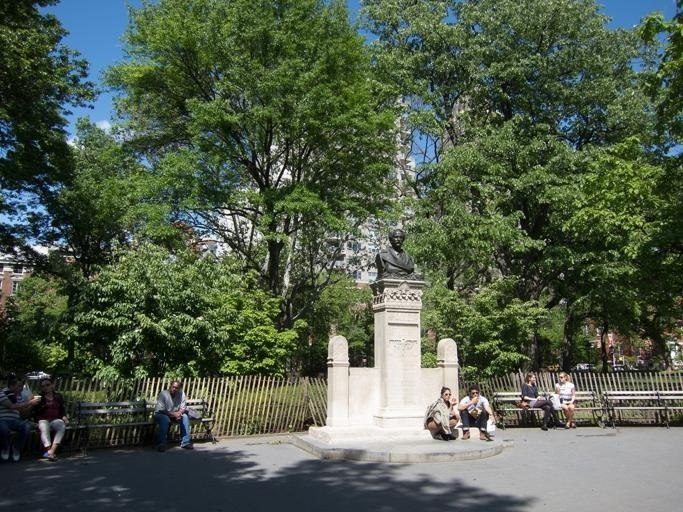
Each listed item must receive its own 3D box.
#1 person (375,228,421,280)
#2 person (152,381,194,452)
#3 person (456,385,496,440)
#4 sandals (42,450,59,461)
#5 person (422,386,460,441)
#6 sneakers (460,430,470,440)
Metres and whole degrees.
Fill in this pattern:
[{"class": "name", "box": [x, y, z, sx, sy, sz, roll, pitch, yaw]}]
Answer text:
[{"class": "person", "box": [1.852, 0.033, 19.170, 1.313, 1.748, 1.128, 9, -18, -26]}, {"class": "person", "box": [-4.870, 4.603, 16.761, 1.011, 1.987, 0.867, 2, -3, -27]}, {"class": "person", "box": [4.052, 4.768, 17.519, 1.018, 1.563, 1.746, 5, -18, 0]}, {"class": "sandals", "box": [-7.624, 5.217, 15.141, 0.197, 0.218, 0.531, 17, -32, -14]}, {"class": "person", "box": [3.060, 4.626, 17.166, 0.798, 1.477, 1.079, -2, -4, 45]}, {"class": "sneakers", "box": [3.716, 5.338, 17.212, 0.352, 0.249, 0.136, 24, -34, -35]}]
